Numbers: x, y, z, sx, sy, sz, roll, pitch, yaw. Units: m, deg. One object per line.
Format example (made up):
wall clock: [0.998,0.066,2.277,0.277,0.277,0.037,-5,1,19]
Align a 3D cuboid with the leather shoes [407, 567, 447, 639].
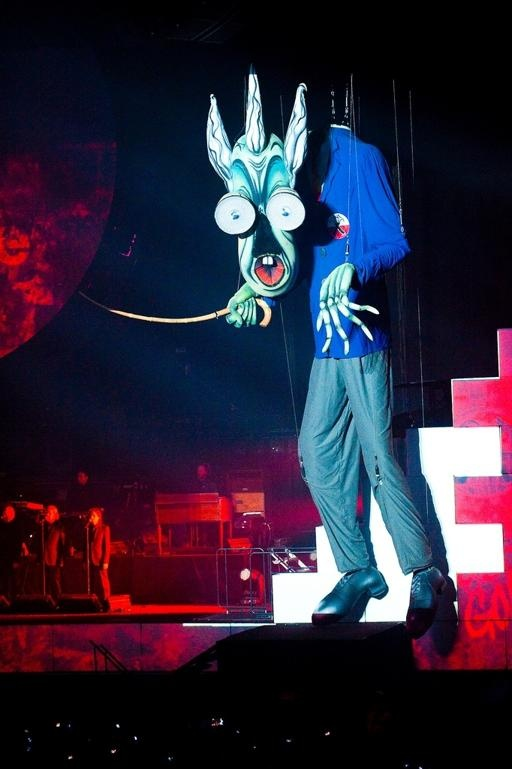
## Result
leather shoes: [0.594,0.731,3.041,0.108,0.278,0.091,38,-42,-18]

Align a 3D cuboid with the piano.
piano: [-0.567,1.190,7.901,0.589,0.613,0.556,-3,10,5]
